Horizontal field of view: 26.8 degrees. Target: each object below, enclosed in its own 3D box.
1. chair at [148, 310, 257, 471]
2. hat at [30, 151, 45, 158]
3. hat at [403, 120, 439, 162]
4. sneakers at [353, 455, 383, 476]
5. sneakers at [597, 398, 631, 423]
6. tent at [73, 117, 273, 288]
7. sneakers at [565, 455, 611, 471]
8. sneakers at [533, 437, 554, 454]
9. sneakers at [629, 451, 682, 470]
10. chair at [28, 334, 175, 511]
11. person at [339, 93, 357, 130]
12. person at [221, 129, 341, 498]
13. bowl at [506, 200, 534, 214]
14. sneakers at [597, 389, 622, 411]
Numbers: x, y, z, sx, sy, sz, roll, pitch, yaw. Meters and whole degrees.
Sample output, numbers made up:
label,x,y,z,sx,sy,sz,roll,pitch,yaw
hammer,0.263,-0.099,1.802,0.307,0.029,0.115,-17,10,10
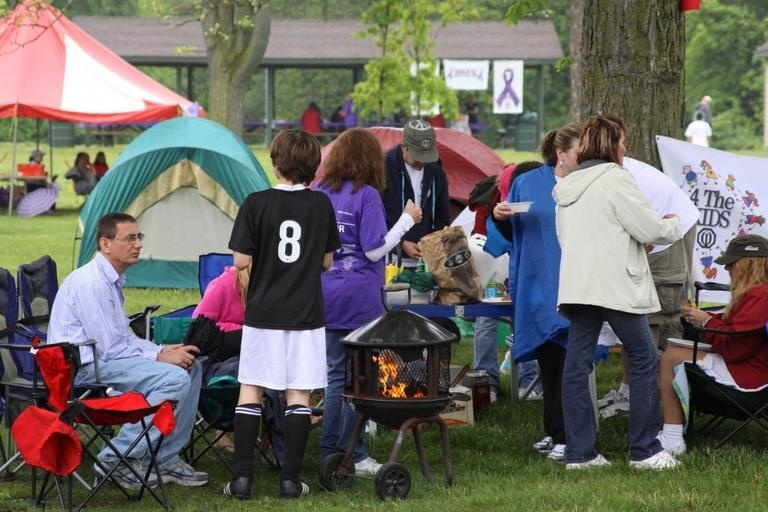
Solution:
label,x,y,z,sx,sy,sz,roll,pitch,yaw
chair,-2.308,1.545,18.790,1.332,2.026,1.459,-1,-2,13
hat,-6.749,-1.954,31.114,0.175,0.112,0.281,1,4,4
hat,0.481,-1.453,19.763,0.447,0.365,0.660,-1,29,-21
sneakers,-0.161,2.414,18.515,0.321,0.160,0.156,-2,1,5
sneakers,2.876,1.870,19.722,0.327,0.148,0.217,-18,19,-13
tent,-2.942,-0.941,23.400,2.303,2.013,2.509,1,8,6
sneakers,2.397,2.382,18.609,0.504,0.249,0.202,-8,-5,2
sneakers,1.938,2.222,19.010,0.253,0.139,0.129,7,-4,-27
sneakers,3.195,2.363,18.542,0.545,0.273,0.238,-1,-2,6
chair,-3.155,1.867,18.111,1.699,2.336,1.643,0,-1,-26
person,-0.782,-3.245,37.320,0.321,1.111,0.376,11,24,23
person,-1.172,0.642,18.606,1.228,4.173,1.110,1,1,0
bowl,1.610,-0.557,18.693,0.306,0.136,0.335,1,2,0
sneakers,2.829,1.755,19.867,0.276,0.088,0.175,-31,36,-15
